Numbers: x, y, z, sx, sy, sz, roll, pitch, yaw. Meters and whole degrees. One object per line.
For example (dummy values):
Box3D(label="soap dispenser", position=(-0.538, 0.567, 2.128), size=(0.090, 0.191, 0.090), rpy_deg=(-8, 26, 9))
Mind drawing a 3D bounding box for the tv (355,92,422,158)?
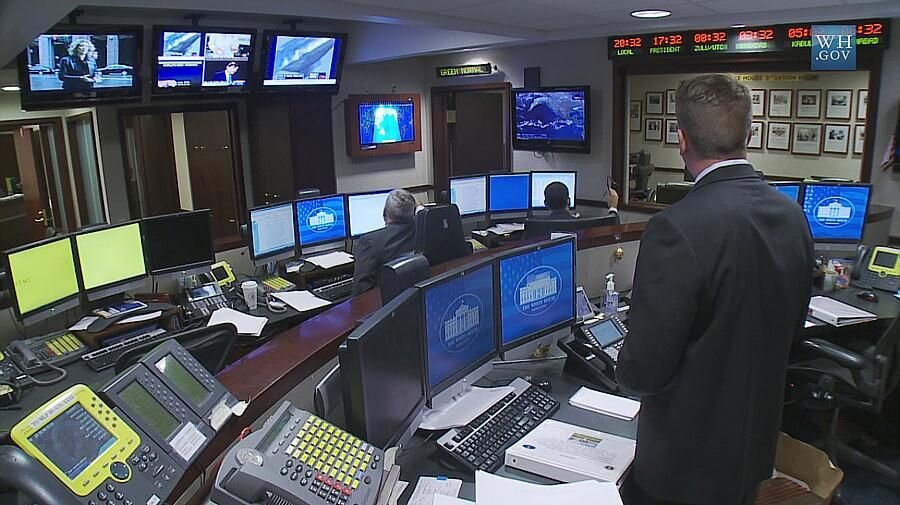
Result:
Box3D(label="tv", position=(-0.995, -1.978, 8.429), size=(1.118, 0.790, 0.391), rpy_deg=(-10, 16, -37))

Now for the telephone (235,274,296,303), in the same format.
Box3D(label="telephone", position=(-1.654, 0.279, 5.044), size=(0.302, 0.088, 0.329), rpy_deg=(17, 20, 41))

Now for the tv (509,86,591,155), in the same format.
Box3D(label="tv", position=(1.394, -1.820, 7.508), size=(1.088, 0.723, 0.126), rpy_deg=(7, 20, 36))

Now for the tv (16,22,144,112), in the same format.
Box3D(label="tv", position=(-3.757, -1.901, 5.579), size=(1.080, 0.680, 0.109), rpy_deg=(-17, 35, -39))

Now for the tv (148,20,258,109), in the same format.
Box3D(label="tv", position=(-2.890, -2.190, 6.362), size=(1.313, 0.800, 0.120), rpy_deg=(-13, 36, -32))

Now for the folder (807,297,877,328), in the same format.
Box3D(label="folder", position=(2.838, 0.431, 4.046), size=(0.423, 0.078, 0.396), rpy_deg=(-11, 23, -20))

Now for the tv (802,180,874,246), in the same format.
Box3D(label="tv", position=(3.123, -0.329, 4.479), size=(0.646, 0.541, 0.082), rpy_deg=(2, 10, 3))

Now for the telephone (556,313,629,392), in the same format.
Box3D(label="telephone", position=(0.891, 0.580, 3.299), size=(0.533, 0.230, 0.376), rpy_deg=(-15, 29, -43))
